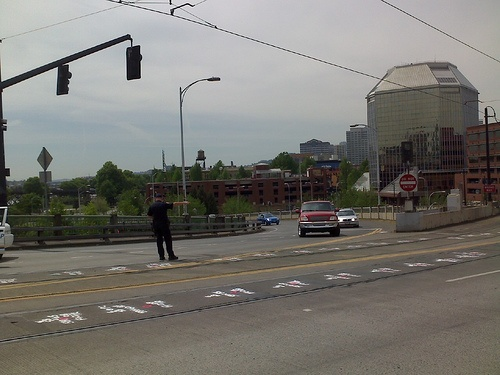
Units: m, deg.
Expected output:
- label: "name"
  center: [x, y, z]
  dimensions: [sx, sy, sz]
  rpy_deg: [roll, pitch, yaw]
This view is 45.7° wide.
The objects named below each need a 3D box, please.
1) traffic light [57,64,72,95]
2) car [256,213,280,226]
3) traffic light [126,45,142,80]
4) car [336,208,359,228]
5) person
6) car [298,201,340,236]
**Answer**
- label: "traffic light"
  center: [-6.581, -3.823, 20.864]
  dimensions: [0.445, 1.116, 0.879]
  rpy_deg: [-1, 2, -17]
- label: "car"
  center: [2.085, 3.740, 69.578]
  dimensions: [1.267, 0.991, 2.835]
  rpy_deg: [-1, -5, -21]
- label: "traffic light"
  center: [-4.161, -4.435, 21.091]
  dimensions: [0.499, 1.293, 0.868]
  rpy_deg: [-1, 2, -11]
- label: "car"
  center: [7.220, 2.266, 43.710]
  dimensions: [1.259, 1.039, 3.115]
  rpy_deg: [-2, -5, 7]
- label: "person"
  center: [-2.670, 1.236, 18.198]
  dimensions: [0.933, 2.053, 0.676]
  rpy_deg: [-1, 2, -11]
- label: "car"
  center: [3.554, 1.584, 30.702]
  dimensions: [1.233, 1.147, 2.494]
  rpy_deg: [-2, -9, 3]
